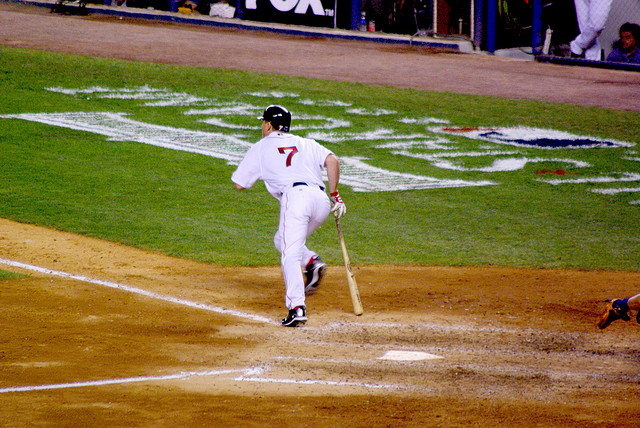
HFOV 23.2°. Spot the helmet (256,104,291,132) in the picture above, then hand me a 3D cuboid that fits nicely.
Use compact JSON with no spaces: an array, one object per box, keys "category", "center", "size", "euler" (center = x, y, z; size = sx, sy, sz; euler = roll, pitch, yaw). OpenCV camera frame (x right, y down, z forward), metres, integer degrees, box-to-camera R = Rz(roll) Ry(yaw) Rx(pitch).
[{"category":"helmet","center":[-0.878,-1.857,29.488],"size":[0.622,0.322,0.434],"euler":[26,21,33]}]

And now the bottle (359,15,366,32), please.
[{"category":"bottle","center":[1.318,-6.067,48.947],"size":[0.216,0.473,0.283],"euler":[3,15,-5]}]
